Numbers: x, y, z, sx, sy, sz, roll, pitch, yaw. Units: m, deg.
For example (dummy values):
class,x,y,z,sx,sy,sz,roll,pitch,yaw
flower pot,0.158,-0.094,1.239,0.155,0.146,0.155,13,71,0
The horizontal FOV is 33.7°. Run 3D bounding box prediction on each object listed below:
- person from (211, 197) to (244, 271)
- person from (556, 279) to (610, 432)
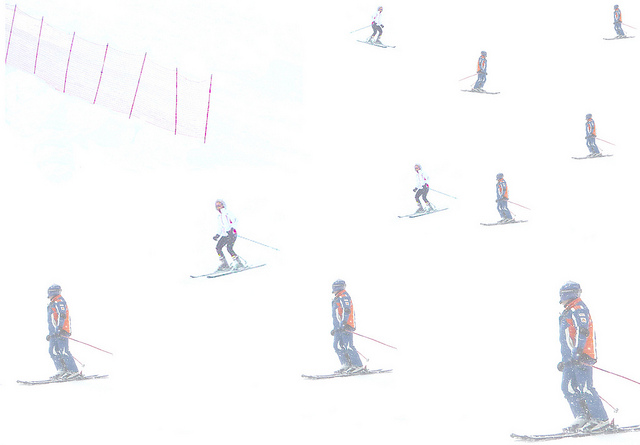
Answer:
class,x,y,z,sx,sy,sz,roll,pitch,yaw
person,-1.256,0.136,14.310,0.387,0.911,0.473,-5,-29,-5
person,3.197,1.685,13.247,0.615,1.735,0.833,-12,-29,8
